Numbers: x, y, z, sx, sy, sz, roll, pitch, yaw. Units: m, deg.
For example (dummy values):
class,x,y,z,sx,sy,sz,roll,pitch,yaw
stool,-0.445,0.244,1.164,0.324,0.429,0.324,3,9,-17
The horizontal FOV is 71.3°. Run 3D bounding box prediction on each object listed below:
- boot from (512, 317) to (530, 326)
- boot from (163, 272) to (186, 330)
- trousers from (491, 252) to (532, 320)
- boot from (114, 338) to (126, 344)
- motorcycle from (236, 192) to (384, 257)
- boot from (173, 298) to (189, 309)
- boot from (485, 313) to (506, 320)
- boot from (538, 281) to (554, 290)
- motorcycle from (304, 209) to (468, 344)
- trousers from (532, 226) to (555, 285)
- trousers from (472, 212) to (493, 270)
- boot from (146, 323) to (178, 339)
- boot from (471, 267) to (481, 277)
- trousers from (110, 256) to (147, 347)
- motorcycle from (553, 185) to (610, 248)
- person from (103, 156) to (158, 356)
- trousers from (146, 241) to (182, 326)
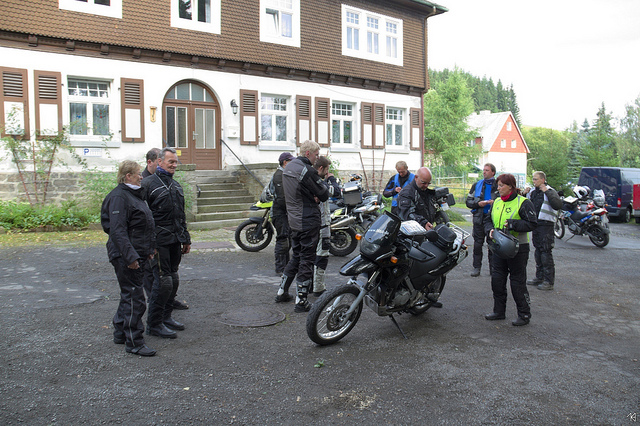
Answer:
class,x,y,z,sx,sy,sz,roll,pitch,yaw
boot,3.070,1.665,6.854,0.246,0.103,0.094,1,1,-16
boot,-2.055,1.264,6.369,0.450,0.715,0.257,5,0,31
trousers,3.009,1.133,7.042,0.654,1.051,0.418,7,11,26
boot,-2.626,1.689,5.928,0.167,0.077,0.072,2,41,-3
motorcycle,-0.359,0.171,10.632,3.292,1.841,1.335,2,23,-7
boot,-2.276,1.440,7.099,0.362,0.158,0.123,1,14,-1
boot,2.741,1.619,7.006,0.303,0.130,0.109,4,6,1
boot,4.370,1.420,8.686,0.296,0.134,0.131,8,-4,-38
motorcycle,1.091,0.892,6.601,3.042,1.706,0.896,-5,21,-41
trousers,4.467,0.832,8.889,0.392,1.089,0.561,4,10,11
trousers,3.383,0.617,9.601,0.256,1.266,0.542,5,11,19
boot,-2.171,1.626,6.123,0.445,0.199,0.171,5,12,12
boot,3.291,1.236,9.488,0.166,0.164,0.215,5,11,20
trousers,-2.471,1.112,5.744,0.436,1.150,0.447,0,10,-10
motorcycle,8.188,0.112,14.171,1.256,1.642,2.681,-4,8,-5
person,-2.419,0.560,5.692,0.630,2.400,0.708,-1,10,-16
trousers,-2.130,0.979,6.157,0.494,1.144,0.296,-4,12,-30
